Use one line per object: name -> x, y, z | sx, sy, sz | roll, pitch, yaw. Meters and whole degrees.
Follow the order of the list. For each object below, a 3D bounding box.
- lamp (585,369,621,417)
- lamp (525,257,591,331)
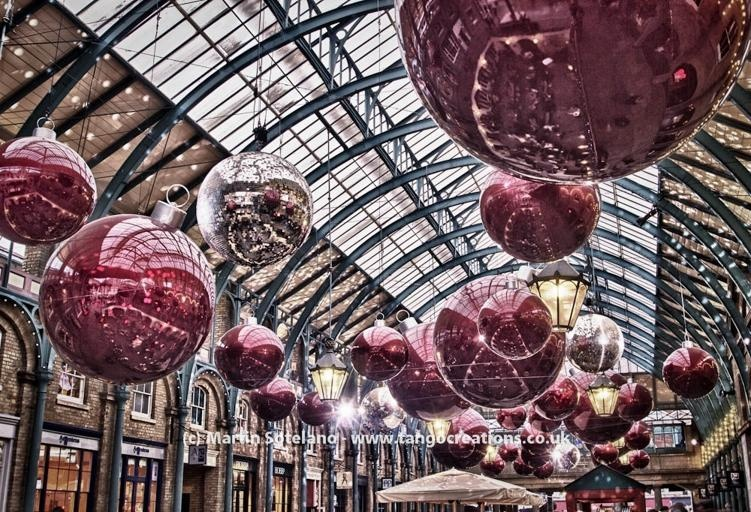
lamp -> 3.908, 2.397, 14.877 | 0.696, 0.896, 0.629 | 3, -24, -3
lamp -> 2.695, 0.425, 12.481 | 0.855, 1.174, 0.801 | -1, -6, 14
